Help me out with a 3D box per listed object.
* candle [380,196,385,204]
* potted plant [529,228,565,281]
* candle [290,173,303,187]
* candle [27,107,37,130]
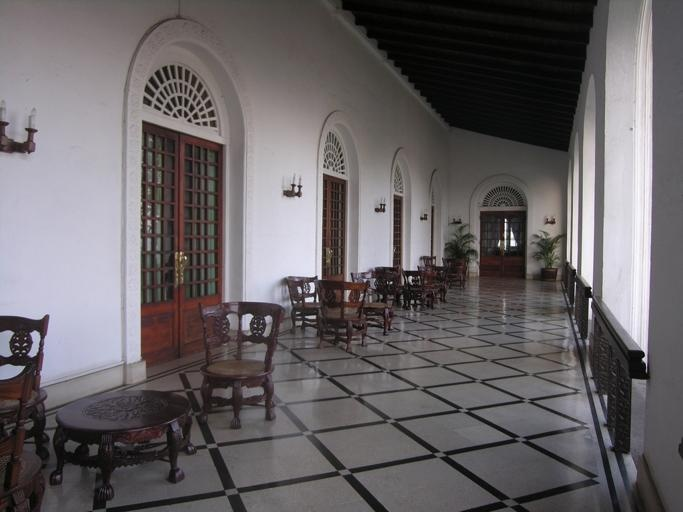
[{"bbox_3d":[1.117,-1.461,11.856,0.087,0.167,0.373,2,5,18],"label":"candle"},{"bbox_3d":[8.014,0.027,18.024,1.585,2.171,1.611,2,-2,-5],"label":"potted plant"},{"bbox_3d":[-0.766,-1.389,8.168,0.169,0.236,0.518,2,5,16],"label":"candle"},{"bbox_3d":[-2.885,-1.301,4.231,0.079,0.242,0.247,-3,6,-34],"label":"candle"}]
